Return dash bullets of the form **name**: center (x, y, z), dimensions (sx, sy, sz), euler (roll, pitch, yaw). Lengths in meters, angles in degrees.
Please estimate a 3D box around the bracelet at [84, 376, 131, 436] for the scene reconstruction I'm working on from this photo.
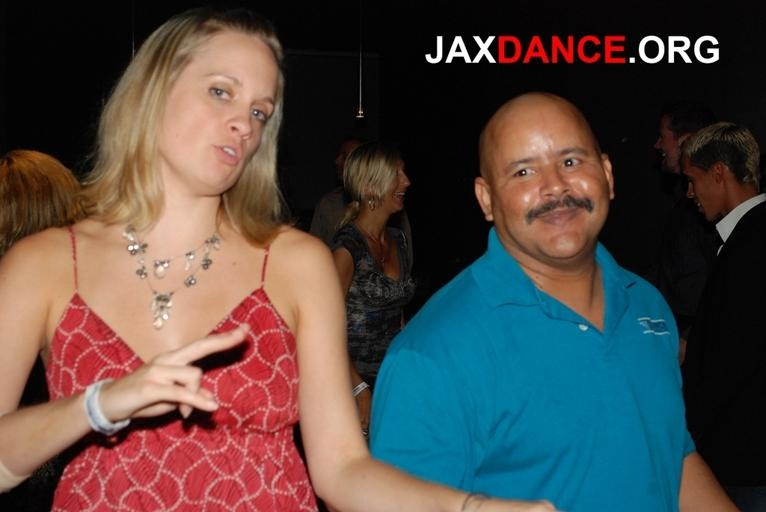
- **bracelet**: center (-0.782, 0.421, 1.725), dimensions (0.147, 0.128, 0.073), euler (30, 10, 19)

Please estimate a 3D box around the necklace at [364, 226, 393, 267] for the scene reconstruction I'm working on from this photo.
- **necklace**: center (-0.001, -0.054, 4.058), dimensions (0.084, 0.272, 0.198), euler (-24, -17, 30)

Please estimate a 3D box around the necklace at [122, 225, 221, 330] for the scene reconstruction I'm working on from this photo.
- **necklace**: center (-0.724, 0.083, 2.041), dimensions (0.348, 0.353, 0.014), euler (0, 1, -2)
